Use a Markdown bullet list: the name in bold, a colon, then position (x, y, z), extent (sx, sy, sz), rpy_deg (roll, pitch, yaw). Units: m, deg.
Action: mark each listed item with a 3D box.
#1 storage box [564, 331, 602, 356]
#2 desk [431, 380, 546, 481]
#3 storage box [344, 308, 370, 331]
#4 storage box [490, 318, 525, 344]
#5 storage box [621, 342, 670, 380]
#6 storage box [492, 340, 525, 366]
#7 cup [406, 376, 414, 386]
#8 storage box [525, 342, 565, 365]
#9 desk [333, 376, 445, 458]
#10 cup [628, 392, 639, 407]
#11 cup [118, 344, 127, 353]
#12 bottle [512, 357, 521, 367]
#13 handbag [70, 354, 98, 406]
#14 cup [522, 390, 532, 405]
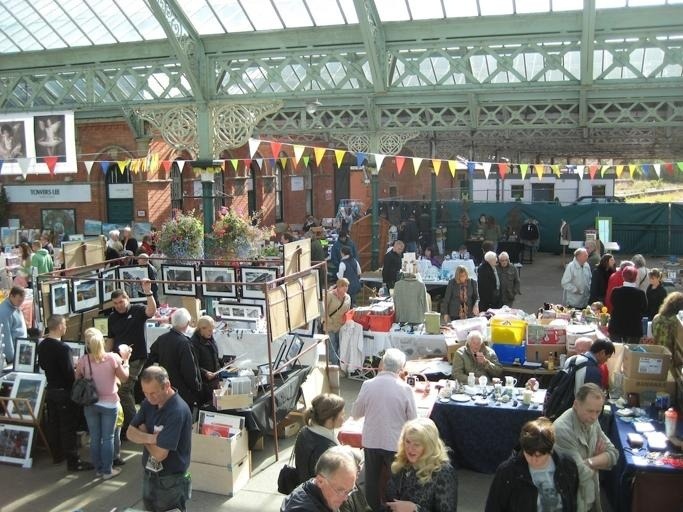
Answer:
- **storage box**: position (3.423, 1.223, 9.493), extent (0.558, 0.277, 0.441), rpy_deg (-4, 3, -6)
- **desk**: position (1.849, 2.295, 8.678), extent (1.426, 1.012, 1.111), rpy_deg (2, 3, 23)
- **storage box**: position (0.295, 1.133, 11.892), extent (0.336, 0.229, 0.356), rpy_deg (0, 2, 9)
- **storage box**: position (2.555, 1.142, 10.110), extent (0.443, 0.255, 0.322), rpy_deg (-1, 1, 29)
- **storage box**: position (4.056, 1.404, 8.820), extent (0.440, 0.309, 0.480), rpy_deg (1, 2, 15)
- **storage box**: position (2.581, 1.492, 10.044), extent (0.345, 0.236, 0.358), rpy_deg (1, 5, 20)
- **cup**: position (0.991, 1.785, 9.390), extent (0.128, 0.121, 0.096), rpy_deg (1, 0, 11)
- **storage box**: position (3.075, 1.470, 10.064), extent (0.499, 0.346, 0.284), rpy_deg (0, -1, 1)
- **desk**: position (0.791, 2.084, 8.693), extent (1.896, 0.580, 0.753), rpy_deg (-2, 1, -40)
- **cup**: position (3.841, 1.890, 8.684), extent (0.131, 0.153, 0.154), rpy_deg (1, -2, -7)
- **cup**: position (-2.977, 1.260, 9.039), extent (0.134, 0.099, 0.142), rpy_deg (3, 0, 0)
- **bottle**: position (2.656, 1.622, 9.981), extent (0.097, 0.093, 0.102), rpy_deg (-1, -5, 16)
- **handbag**: position (-3.352, 1.641, 8.605), extent (0.315, 0.679, 0.196), rpy_deg (-2, 1, -18)
- **cup**: position (2.410, 1.834, 8.564), extent (0.141, 0.171, 0.141), rpy_deg (3, -11, 1)
